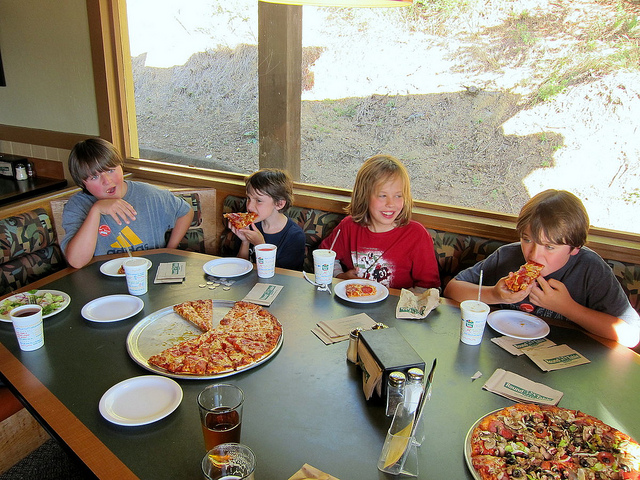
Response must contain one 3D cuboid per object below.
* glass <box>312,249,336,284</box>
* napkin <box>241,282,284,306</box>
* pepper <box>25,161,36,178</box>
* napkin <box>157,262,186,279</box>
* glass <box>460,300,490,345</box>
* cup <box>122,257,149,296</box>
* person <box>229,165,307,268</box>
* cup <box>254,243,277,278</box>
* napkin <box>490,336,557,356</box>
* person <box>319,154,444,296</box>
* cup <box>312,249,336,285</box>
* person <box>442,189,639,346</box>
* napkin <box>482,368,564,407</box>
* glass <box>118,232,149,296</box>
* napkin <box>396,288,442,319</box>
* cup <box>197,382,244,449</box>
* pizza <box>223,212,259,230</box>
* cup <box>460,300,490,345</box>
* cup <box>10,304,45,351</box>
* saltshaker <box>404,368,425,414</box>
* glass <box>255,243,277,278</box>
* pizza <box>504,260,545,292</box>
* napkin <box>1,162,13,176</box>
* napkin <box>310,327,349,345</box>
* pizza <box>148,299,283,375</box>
[{"bbox_3d":[0.013,0.126,2.059,0.149,0.159,0.142,0,9,-2],"label":"glass"},{"bbox_3d":[-0.267,0.252,1.986,0.094,0.013,0.120,6,25,16],"label":"napkin"},{"bbox_3d":[-2.535,-0.621,3.764,0.043,0.131,0.118,2,23,-8],"label":"pepper"},{"bbox_3d":[-0.757,0.155,2.190,0.094,0.023,0.093,1,27,0],"label":"napkin"},{"bbox_3d":[0.599,0.342,1.706,0.126,0.137,0.122,4,2,13],"label":"glass"},{"bbox_3d":[-0.861,0.180,2.012,0.132,0.146,0.124,-2,7,0],"label":"cup"},{"bbox_3d":[-0.338,-0.061,2.927,0.507,0.834,0.438,12,13,13],"label":"person"},{"bbox_3d":[-0.276,0.101,2.181,0.109,0.151,0.116,4,23,-2],"label":"cup"},{"bbox_3d":[0.792,0.418,1.678,0.208,0.022,0.217,-3,6,-23],"label":"napkin"},{"bbox_3d":[0.400,-0.073,2.588,0.816,1.048,0.552,4,15,16],"label":"person"},{"bbox_3d":[0.018,0.143,2.090,0.131,0.141,0.132,1,5,0],"label":"cup"},{"bbox_3d":[1.115,0.146,2.101,0.390,0.507,0.745,-15,22,-42],"label":"person"},{"bbox_3d":[0.689,0.514,1.468,0.226,0.034,0.121,19,25,30],"label":"napkin"},{"bbox_3d":[-0.862,0.106,1.984,0.137,0.277,0.114,8,17,15],"label":"glass"},{"bbox_3d":[0.442,0.276,1.905,0.189,0.082,0.210,11,23,15],"label":"napkin"},{"bbox_3d":[-0.291,0.520,1.254,0.139,0.197,0.126,3,26,2],"label":"cup"},{"bbox_3d":[-0.511,-0.130,2.773,0.194,0.116,0.112,17,26,27],"label":"pizza"},{"bbox_3d":[0.594,0.344,1.715,0.138,0.145,0.138,3,0,0],"label":"cup"},{"bbox_3d":[-1.113,0.357,1.639,0.114,0.126,0.112,-7,1,0],"label":"cup"},{"bbox_3d":[0.275,0.433,1.261,0.055,0.112,0.126,12,23,15],"label":"saltshaker"},{"bbox_3d":[-0.264,0.118,2.179,0.121,0.136,0.121,0,4,16],"label":"glass"},{"bbox_3d":[0.905,0.148,1.908,0.100,0.056,0.156,30,67,25],"label":"pizza"},{"bbox_3d":[-2.652,-0.613,3.636,0.094,0.065,0.051,13,23,24],"label":"napkin"},{"bbox_3d":[0.028,0.382,1.716,0.074,0.010,0.065,-7,21,-30],"label":"napkin"},{"bbox_3d":[-0.409,0.370,1.735,0.434,0.045,0.511,1,23,-9],"label":"pizza"}]
